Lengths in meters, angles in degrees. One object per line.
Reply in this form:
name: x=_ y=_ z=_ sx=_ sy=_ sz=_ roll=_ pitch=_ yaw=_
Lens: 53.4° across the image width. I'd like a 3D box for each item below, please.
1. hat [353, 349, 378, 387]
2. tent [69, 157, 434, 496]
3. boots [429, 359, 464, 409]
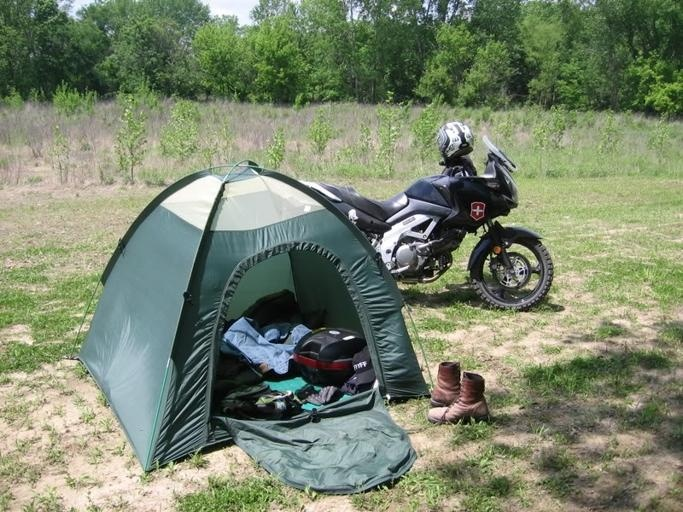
hat: x=0.232 y=1.166 z=7.561 sx=0.315 sy=0.277 sz=0.542 roll=-9 pitch=19 yaw=12
tent: x=-0.993 y=0.782 z=7.110 sx=2.851 sy=2.428 sz=3.729 roll=-12 pitch=23 yaw=-37
boots: x=1.170 y=1.302 z=7.056 sx=0.593 sy=0.467 sz=0.246 roll=2 pitch=9 yaw=-42
